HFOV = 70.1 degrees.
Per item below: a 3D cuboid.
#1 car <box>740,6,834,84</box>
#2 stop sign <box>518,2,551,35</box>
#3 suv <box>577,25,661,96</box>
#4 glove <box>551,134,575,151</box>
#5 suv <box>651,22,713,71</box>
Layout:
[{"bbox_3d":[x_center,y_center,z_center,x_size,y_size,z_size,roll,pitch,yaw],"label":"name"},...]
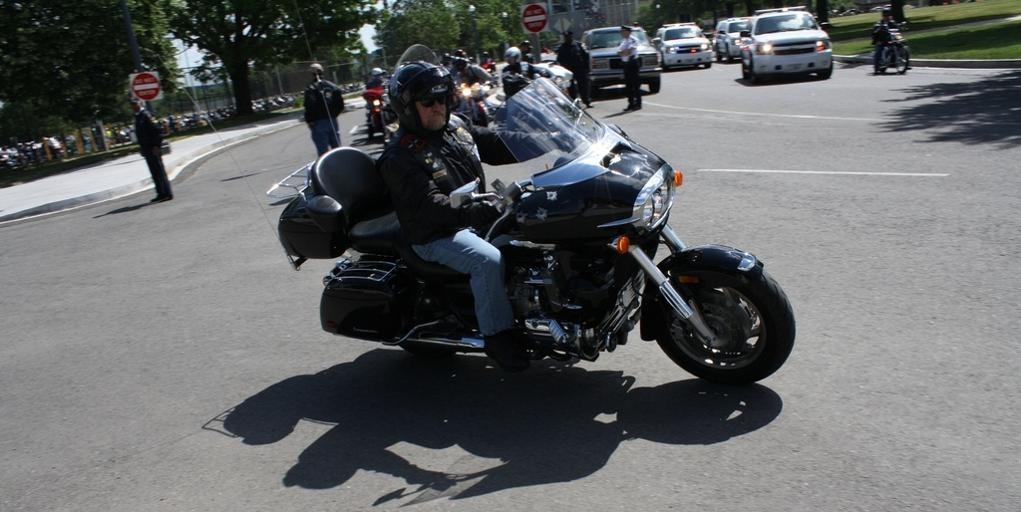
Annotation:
[{"bbox_3d":[10.135,-8.345,27.522,3.090,2.073,4.728,-4,28,7],"label":"car"},{"bbox_3d":[0.927,-8.576,26.327,0.905,0.980,1.225,-9,19,2],"label":"stop sign"},{"bbox_3d":[3.540,-7.719,29.753,3.400,2.215,5.924,-10,14,-15],"label":"suv"},{"bbox_3d":[0.575,-1.210,7.765,0.237,0.196,0.113,-7,21,5],"label":"glove"},{"bbox_3d":[8.655,-10.069,36.512,2.517,1.567,4.300,-3,7,3],"label":"suv"}]
